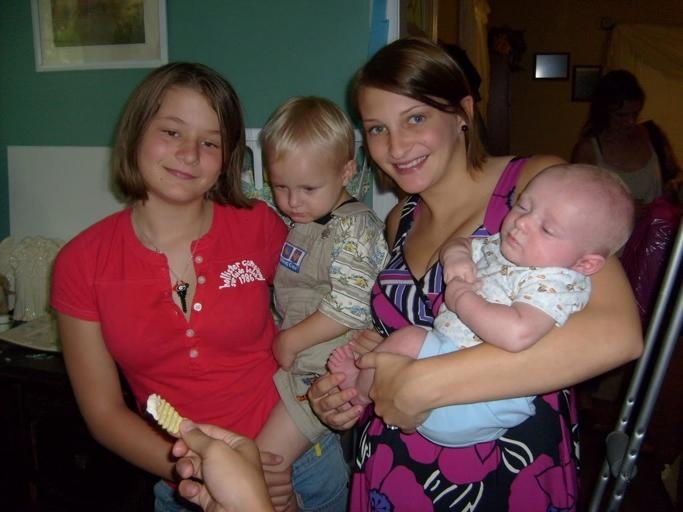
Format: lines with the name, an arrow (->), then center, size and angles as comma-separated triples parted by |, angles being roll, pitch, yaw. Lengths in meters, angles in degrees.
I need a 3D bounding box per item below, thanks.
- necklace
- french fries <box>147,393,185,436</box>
necklace -> -0.615, 0.020, 2.142 | 0.215, 0.430, 0.071 | -5, -4, -12
french fries -> -0.529, 0.477, 1.746 | 0.127, 0.037, 0.078 | 18, 13, 19
